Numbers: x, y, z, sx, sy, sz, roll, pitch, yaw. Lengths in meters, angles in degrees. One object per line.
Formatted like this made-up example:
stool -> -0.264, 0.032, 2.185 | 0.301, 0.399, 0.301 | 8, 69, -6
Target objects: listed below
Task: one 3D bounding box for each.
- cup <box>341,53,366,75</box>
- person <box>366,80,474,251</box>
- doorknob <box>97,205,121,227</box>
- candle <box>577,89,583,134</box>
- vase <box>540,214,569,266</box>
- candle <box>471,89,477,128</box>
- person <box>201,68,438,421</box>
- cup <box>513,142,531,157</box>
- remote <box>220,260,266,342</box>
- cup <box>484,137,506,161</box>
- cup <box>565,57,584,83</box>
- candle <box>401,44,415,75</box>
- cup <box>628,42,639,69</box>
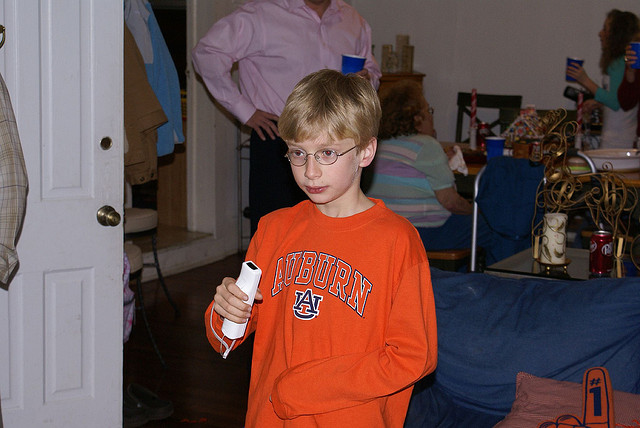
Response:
cup -> 0.172, -0.780, 3.196 | 0.116, 0.098, 0.092 | -3, 8, 2
person -> 0.715, -0.263, 4.127 | 0.672, 1.178, 0.745 | -8, 8, -8
doorknob -> -0.995, 0.009, 2.924 | 0.088, 0.096, 0.091 | 7, 10, -39
candle -> 1.861, -0.728, 4.465 | 0.029, 0.286, 0.270 | 0, 9, 22
vase -> 1.179, 0.119, 3.142 | 0.125, 0.258, 0.140 | 0, 9, 23
candle -> 1.251, -0.872, 5.081 | 0.039, 0.311, 0.323 | -1, 8, 13
person -> 0.038, 0.094, 1.902 | 0.594, 1.062, 0.327 | -3, 8, 6
cup -> 1.344, -0.434, 4.142 | 0.100, 0.106, 0.063 | -3, -13, 14
remote -> -0.252, 0.269, 1.881 | 0.167, 0.250, 0.064 | 2, 10, 35
cup -> 1.146, -0.438, 4.119 | 0.124, 0.141, 0.125 | 1, 3, 0
cup -> 1.862, -1.074, 4.556 | 0.111, 0.173, 0.319 | 0, 9, 22
candle -> 1.029, -1.811, 7.226 | 0.147, 0.384, 0.574 | -2, 8, 9
cup -> 1.927, -0.987, 3.824 | 0.060, 0.161, 0.141 | 1, 9, 28
